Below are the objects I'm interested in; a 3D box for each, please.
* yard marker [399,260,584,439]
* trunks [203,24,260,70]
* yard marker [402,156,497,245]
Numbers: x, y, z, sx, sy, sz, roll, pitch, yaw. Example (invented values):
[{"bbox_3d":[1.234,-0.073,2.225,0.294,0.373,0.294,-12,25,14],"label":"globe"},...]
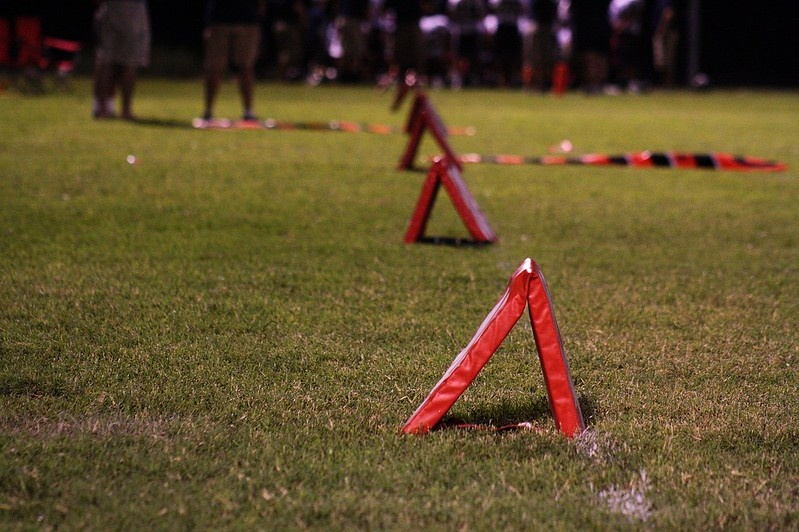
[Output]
[{"bbox_3d":[0.544,0.487,7.327,1.091,1.078,0.840,8,1,5],"label":"yard marker"},{"bbox_3d":[-1.827,-2.365,12.820,0.502,0.483,0.770,5,12,17],"label":"trunks"},{"bbox_3d":[0.381,-0.483,9.321,0.730,0.714,0.299,0,11,6],"label":"yard marker"}]
